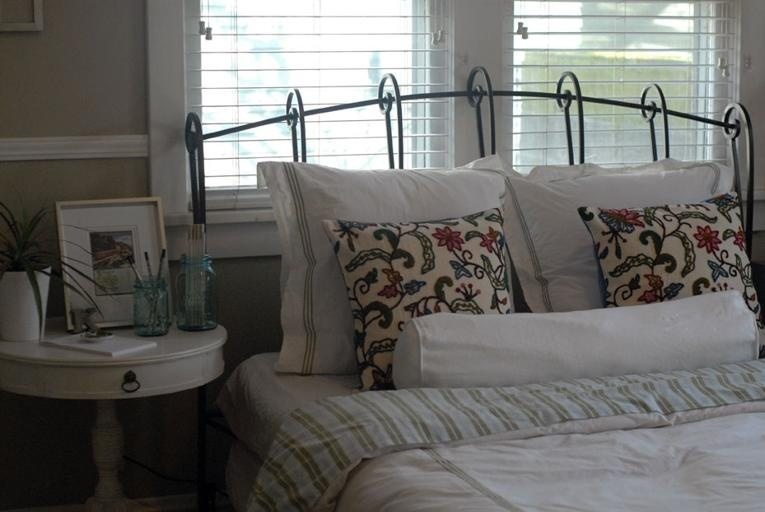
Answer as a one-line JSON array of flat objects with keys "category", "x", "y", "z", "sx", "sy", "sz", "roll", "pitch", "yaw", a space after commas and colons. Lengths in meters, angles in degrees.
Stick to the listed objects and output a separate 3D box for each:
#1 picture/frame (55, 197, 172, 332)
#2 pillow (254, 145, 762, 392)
[{"category": "picture/frame", "x": -1.005, "y": 0.036, "z": 2.718, "sx": 0.427, "sy": 0.546, "sz": 0.040, "roll": -6, "pitch": -12, "yaw": -23}, {"category": "pillow", "x": 0.373, "y": -0.015, "z": 2.757, "sx": 1.622, "sy": 0.759, "sz": 0.303, "roll": -4, "pitch": 5, "yaw": -11}]
